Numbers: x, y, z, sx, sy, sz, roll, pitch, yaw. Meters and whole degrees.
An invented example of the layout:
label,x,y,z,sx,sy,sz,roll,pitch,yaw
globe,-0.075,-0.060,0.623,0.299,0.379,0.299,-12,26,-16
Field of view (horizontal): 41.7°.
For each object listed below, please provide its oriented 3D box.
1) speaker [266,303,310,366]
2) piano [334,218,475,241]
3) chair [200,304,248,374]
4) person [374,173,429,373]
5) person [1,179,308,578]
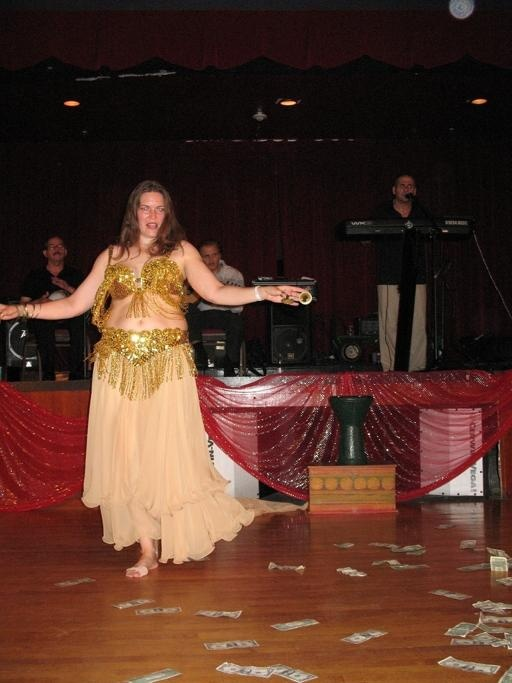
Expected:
label,x,y,z,sx,sy,sz,roll,pitch,yaw
speaker,0.416,-0.116,6.309,0.460,0.653,0.453,-3,-2,36
piano,0.997,-0.762,4.481,0.900,0.156,0.269,-2,-5,9
chair,-0.281,-0.021,5.599,0.528,0.566,0.431,2,-33,-2
person,1.136,-0.555,5.204,0.403,1.600,1.342,-2,-5,11
person,-0.446,0.104,2.774,0.814,1.589,0.529,0,-6,-16
